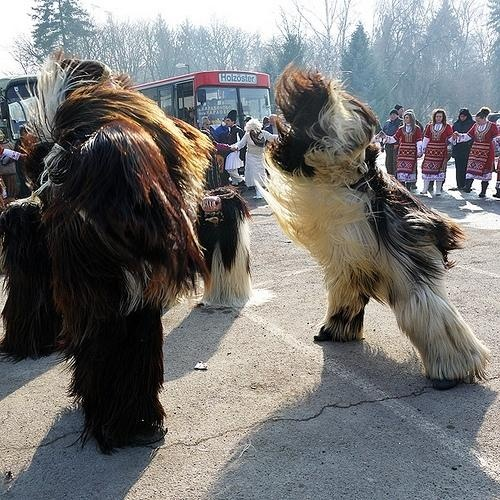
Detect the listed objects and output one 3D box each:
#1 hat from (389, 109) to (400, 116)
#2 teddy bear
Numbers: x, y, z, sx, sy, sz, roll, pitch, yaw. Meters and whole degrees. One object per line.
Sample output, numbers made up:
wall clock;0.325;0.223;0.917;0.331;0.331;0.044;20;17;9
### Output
hat;3.279;-3.160;11.263;0.171;0.166;0.221;3;-3;28
teddy bear;0.672;-0.165;2.823;1.263;1.741;0.437;4;16;28
